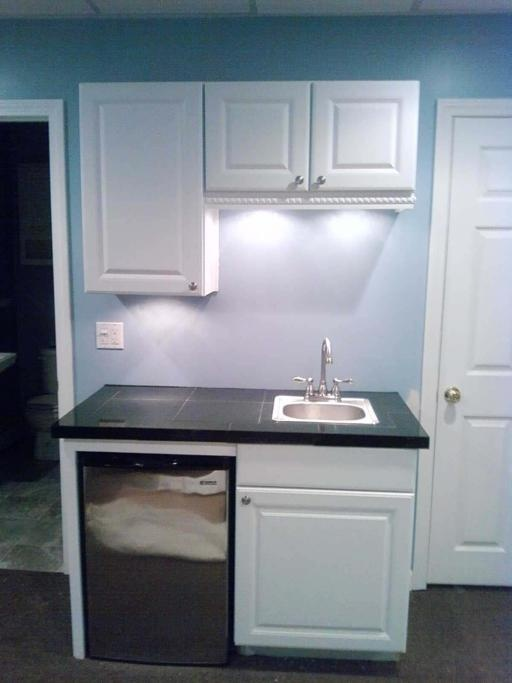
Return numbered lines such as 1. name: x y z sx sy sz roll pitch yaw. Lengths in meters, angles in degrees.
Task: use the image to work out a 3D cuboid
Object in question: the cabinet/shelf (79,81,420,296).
1. cabinet/shelf: -0.028 -0.591 2.215 0.838 0.561 0.171 1 4 4
